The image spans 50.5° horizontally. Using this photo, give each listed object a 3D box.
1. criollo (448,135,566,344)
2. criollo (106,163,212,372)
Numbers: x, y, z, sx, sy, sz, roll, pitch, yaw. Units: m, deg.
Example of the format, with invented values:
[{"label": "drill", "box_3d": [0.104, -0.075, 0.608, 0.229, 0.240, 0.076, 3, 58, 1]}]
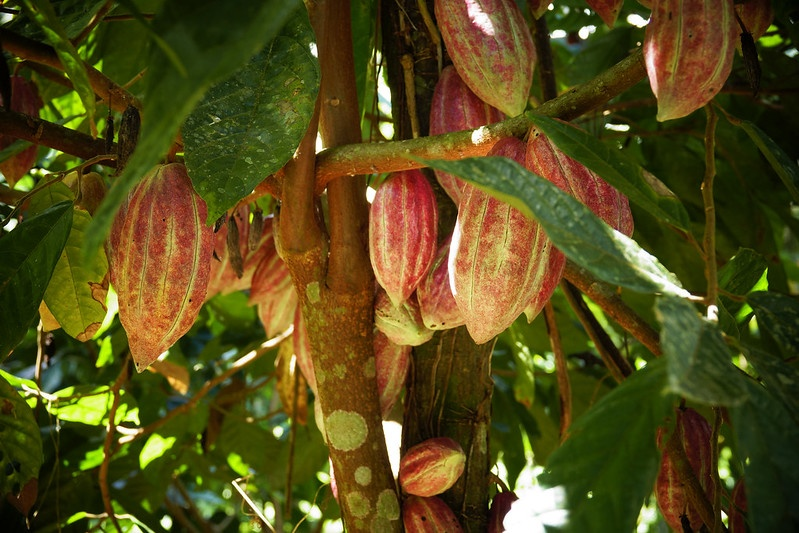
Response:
[{"label": "criollo", "box_3d": [0.143, -0.032, 1.228, 0.150, 0.279, 0.135, 12, 3, -37]}, {"label": "criollo", "box_3d": [-0.352, -0.018, 1.258, 0.151, 0.297, 0.105, 21, -4, -32]}]
